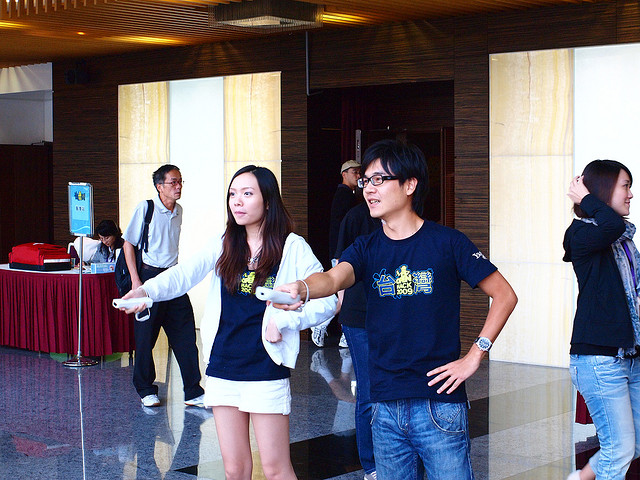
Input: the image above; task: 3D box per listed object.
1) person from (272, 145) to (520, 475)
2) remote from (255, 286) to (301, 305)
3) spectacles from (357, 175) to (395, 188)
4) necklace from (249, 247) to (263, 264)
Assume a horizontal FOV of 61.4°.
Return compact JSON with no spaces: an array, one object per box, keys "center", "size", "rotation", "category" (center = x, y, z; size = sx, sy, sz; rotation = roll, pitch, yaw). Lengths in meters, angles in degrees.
[{"center":[0.300,0.249,1.839],"size":[0.731,1.163,0.269],"rotation":[0,2,-7],"category":"person"},{"center":[-0.123,0.164,1.573],"size":[0.043,0.061,0.179],"rotation":[1,2,37],"category":"remote"},{"center":[0.181,-0.207,1.934],"size":[0.073,0.039,0.194],"rotation":[-1,2,-26],"category":"spectacles"},{"center":[-0.302,0.077,2.521],"size":[0.021,0.057,0.081],"rotation":[22,41,20],"category":"necklace"}]
